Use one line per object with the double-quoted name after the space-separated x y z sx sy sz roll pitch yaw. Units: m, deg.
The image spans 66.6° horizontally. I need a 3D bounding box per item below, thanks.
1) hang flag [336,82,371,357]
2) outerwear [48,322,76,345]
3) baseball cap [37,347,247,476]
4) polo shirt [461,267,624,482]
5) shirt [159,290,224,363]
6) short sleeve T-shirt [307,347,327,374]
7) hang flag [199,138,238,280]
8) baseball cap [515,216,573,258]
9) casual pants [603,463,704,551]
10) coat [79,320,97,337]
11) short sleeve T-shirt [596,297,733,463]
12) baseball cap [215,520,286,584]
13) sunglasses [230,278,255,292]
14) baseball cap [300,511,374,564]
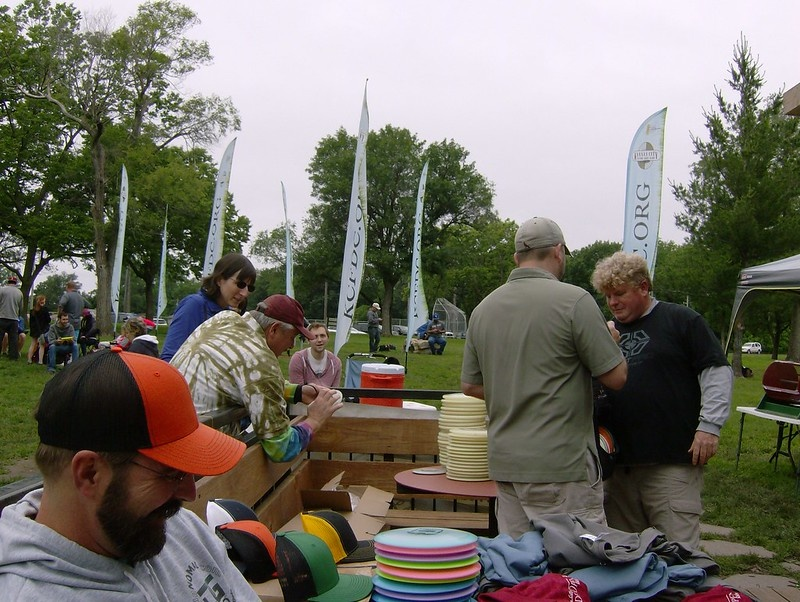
-0.529 -0.973 7.428 0.061 3.629 0.555 7 6 31 "hang flag"
-7.324 0.703 13.212 0.402 0.582 0.536 -2 -3 37 "outerwear"
-0.731 0.291 1.800 0.486 0.282 0.319 10 3 -13 "baseball cap"
0.793 0.445 3.601 0.905 1.234 0.614 -5 -14 35 "polo shirt"
-1.671 0.076 4.791 0.307 0.556 0.600 17 22 -14 "shirt"
-0.977 0.680 7.125 0.190 0.323 0.164 -2 6 0 "short sleeve T-shirt"
-3.084 -1.622 10.387 0.083 2.467 0.366 16 11 21 "hang flag"
0.897 -0.413 3.759 0.430 0.246 0.275 0 -6 -42 "baseball cap"
1.525 1.230 3.649 0.242 0.746 0.537 10 -14 -31 "casual pants"
-7.601 0.670 14.854 0.482 0.541 0.343 0 -4 36 "coat"
1.699 0.537 4.100 0.530 1.111 0.978 3 -13 -36 "short sleeve T-shirt"
-0.651 1.078 2.670 0.320 0.160 0.186 49 4 -34 "baseball cap"
-1.144 -0.118 4.610 0.123 0.094 0.249 3 -1 7 "sunglasses"
-0.319 1.240 3.168 0.350 0.221 0.249 6 1 -2 "baseball cap"
